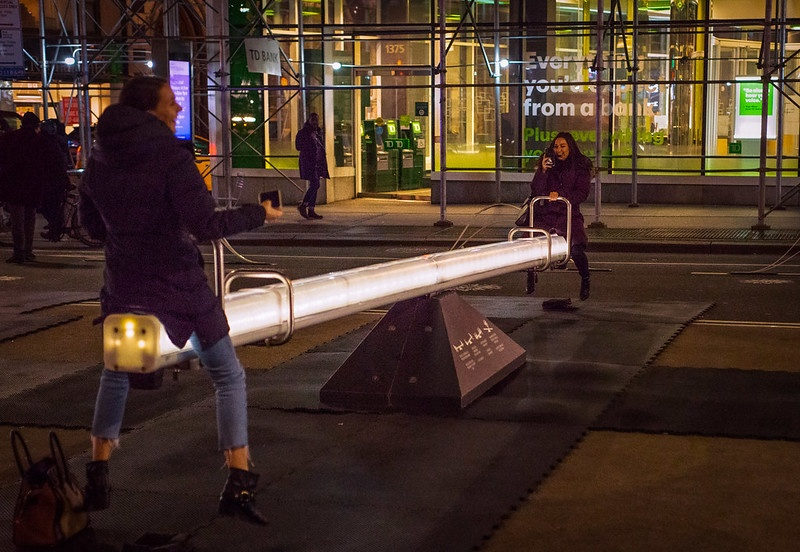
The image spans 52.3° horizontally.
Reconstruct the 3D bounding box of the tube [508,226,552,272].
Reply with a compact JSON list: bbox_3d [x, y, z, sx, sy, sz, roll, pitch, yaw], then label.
[{"bbox_3d":[1.291,-0.264,8.207,0.443,0.469,0.427,5,17,17],"label":"tube"}]

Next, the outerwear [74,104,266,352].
[{"bbox_3d":[-1.337,-0.276,4.519,0.965,1.326,0.364,1,8,15],"label":"outerwear"}]

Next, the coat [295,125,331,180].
[{"bbox_3d":[-2.352,-3.146,21.420,0.700,1.845,0.854,-6,-21,-4],"label":"coat"}]

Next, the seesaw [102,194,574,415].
[{"bbox_3d":[0.210,-0.384,6.902,1.012,0.952,7.699,4,8,33],"label":"seesaw"}]

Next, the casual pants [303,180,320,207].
[{"bbox_3d":[-2.365,-2.208,21.513,0.287,0.263,0.931,6,38,-5],"label":"casual pants"}]

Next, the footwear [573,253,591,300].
[{"bbox_3d":[2.484,0.031,11.152,0.293,0.922,0.248,-2,25,12],"label":"footwear"}]

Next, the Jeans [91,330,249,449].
[{"bbox_3d":[-1.484,0.771,5.269,0.836,0.859,0.344,3,13,11],"label":"Jeans"}]

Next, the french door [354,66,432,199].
[{"bbox_3d":[-0.281,-4.681,26.907,1.848,3.741,3.798,2,7,24],"label":"french door"}]
